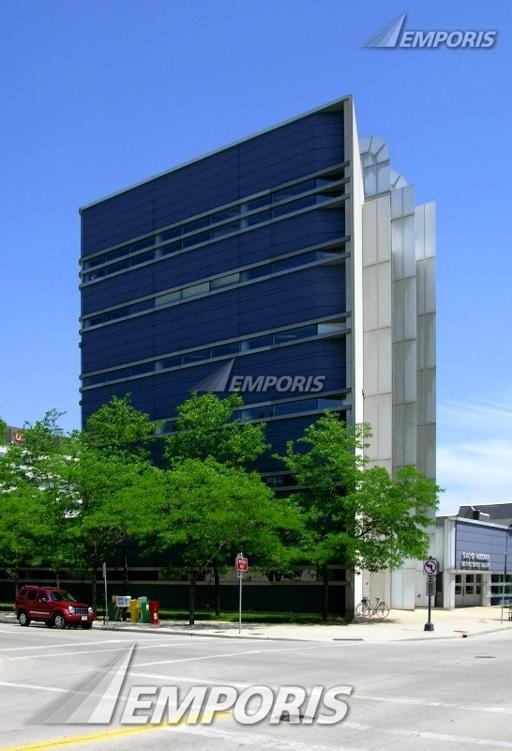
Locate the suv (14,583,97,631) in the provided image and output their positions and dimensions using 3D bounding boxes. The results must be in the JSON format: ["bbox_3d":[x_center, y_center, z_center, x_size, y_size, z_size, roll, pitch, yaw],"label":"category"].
[{"bbox_3d":[-7.603,8.751,44.694,1.505,1.361,3.227,13,-20,-42],"label":"suv"}]
